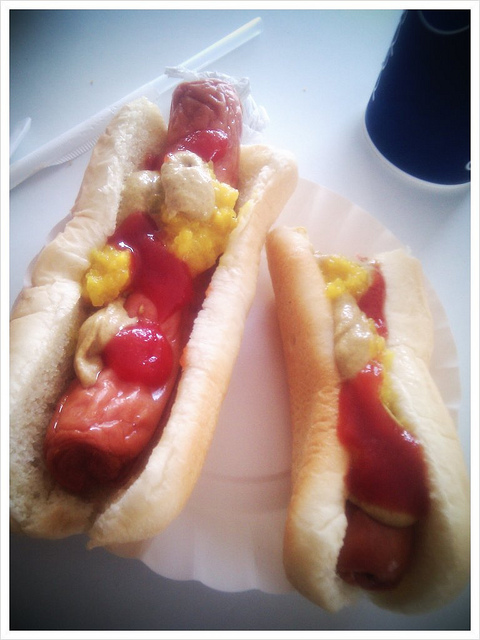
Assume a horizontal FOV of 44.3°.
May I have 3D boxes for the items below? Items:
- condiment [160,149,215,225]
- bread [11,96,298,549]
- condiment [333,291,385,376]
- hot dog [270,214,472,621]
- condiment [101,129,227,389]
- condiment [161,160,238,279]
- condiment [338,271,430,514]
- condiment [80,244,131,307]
[{"bbox_3d":[-0.096,-0.244,1.089,0.090,0.042,0.137,-3,74,-7],"label":"condiment"},{"bbox_3d":[-0.185,-0.008,1.338,0.477,0.287,0.960,11,65,0],"label":"bread"},{"bbox_3d":[0.226,0.025,1.136,0.078,0.047,0.153,-5,53,-5],"label":"condiment"},{"bbox_3d":[0.232,0.183,1.212,0.315,0.227,0.735,-2,69,-4],"label":"hot dog"},{"bbox_3d":[-0.145,-0.141,1.174,0.154,0.164,0.539,14,72,-7],"label":"condiment"},{"bbox_3d":[-0.068,-0.182,1.144,0.130,0.238,0.093,-9,30,-17],"label":"condiment"},{"bbox_3d":[0.252,0.140,1.085,0.091,0.094,0.347,10,75,-18],"label":"condiment"},{"bbox_3d":[-0.249,-0.085,1.095,0.058,0.110,0.092,19,34,28],"label":"condiment"}]
